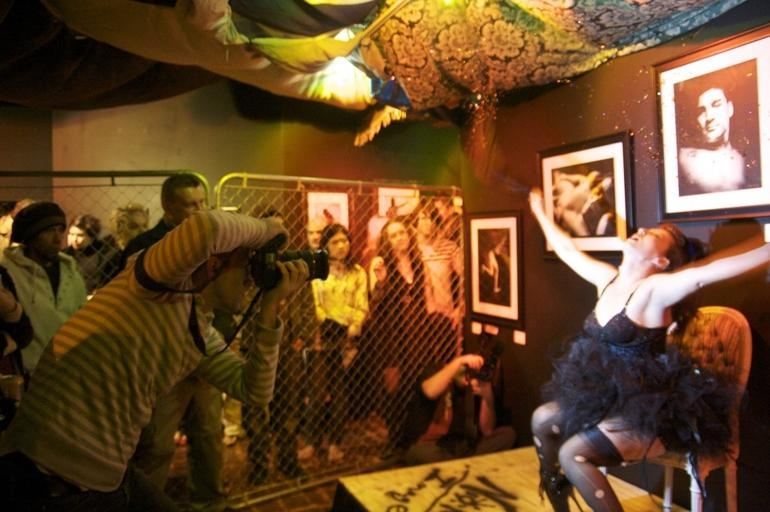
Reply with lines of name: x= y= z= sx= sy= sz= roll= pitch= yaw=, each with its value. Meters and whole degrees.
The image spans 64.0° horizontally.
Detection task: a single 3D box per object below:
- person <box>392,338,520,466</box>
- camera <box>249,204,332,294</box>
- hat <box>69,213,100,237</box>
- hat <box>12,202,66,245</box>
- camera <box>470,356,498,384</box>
person: x=0.515 y=1.121 z=4.692 sx=0.714 sy=1.129 sz=0.924 roll=4 pitch=-13 yaw=37
camera: x=-0.437 y=0.008 z=2.811 sx=0.281 sy=0.160 sz=0.272 roll=-2 pitch=25 yaw=-13
hat: x=-2.354 y=-0.241 z=4.839 sx=0.210 sy=0.171 sz=0.054 roll=1 pitch=2 yaw=-5
hat: x=-2.107 y=-0.203 z=3.846 sx=0.306 sy=0.226 sz=0.220 roll=-6 pitch=2 yaw=4
camera: x=0.769 y=0.867 z=4.664 sx=0.242 sy=0.189 sz=0.115 roll=0 pitch=3 yaw=-36
